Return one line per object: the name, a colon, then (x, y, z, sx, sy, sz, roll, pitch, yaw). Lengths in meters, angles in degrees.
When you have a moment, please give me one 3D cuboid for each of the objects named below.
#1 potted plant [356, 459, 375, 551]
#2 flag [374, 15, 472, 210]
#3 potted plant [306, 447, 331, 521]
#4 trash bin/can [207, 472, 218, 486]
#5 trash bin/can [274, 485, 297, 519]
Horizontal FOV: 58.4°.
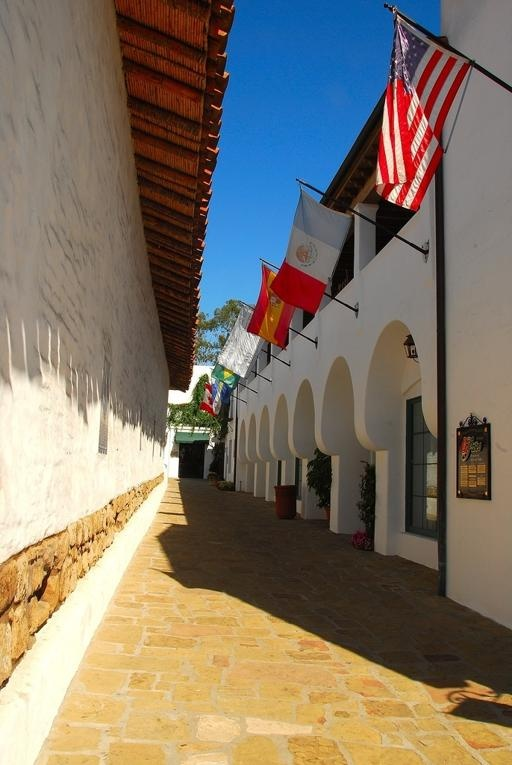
potted plant: (2.301, 2.567, 9.603, 0.298, 1.685, 0.875, 0, -8, 10)
flag: (1.682, -2.814, 4.816, 0.819, 1.837, 0.688, 3, -8, -11)
potted plant: (1.816, 2.840, 13.052, 0.388, 1.912, 1.209, 4, -9, -23)
trash bin/can: (-3.106, 6.821, 32.496, 0.475, 1.346, 0.667, 0, -3, 2)
trash bin/can: (0.901, 3.816, 14.503, 0.582, 1.315, 0.801, 1, -10, -3)
